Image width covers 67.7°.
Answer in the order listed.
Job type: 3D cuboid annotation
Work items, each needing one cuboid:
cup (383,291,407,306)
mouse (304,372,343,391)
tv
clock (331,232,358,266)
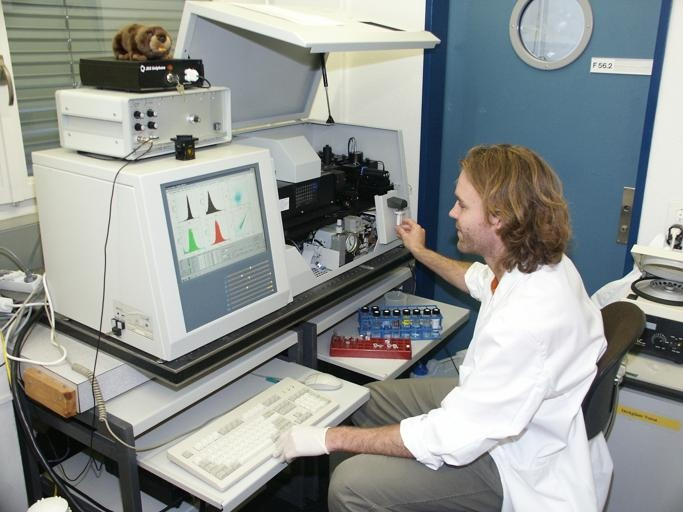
[{"bbox_3d":[0.269,0.210,2.558,0.086,0.038,0.063,-5,18,-24],"label":"cup"},{"bbox_3d":[-0.069,0.449,1.868,0.097,0.033,0.062,6,14,19],"label":"mouse"},{"bbox_3d":[-0.641,-0.116,1.907,0.713,0.641,0.726,12,22,28],"label":"tv"},{"bbox_3d":[0.005,-0.033,2.240,0.063,0.120,0.121,6,13,20],"label":"clock"}]
